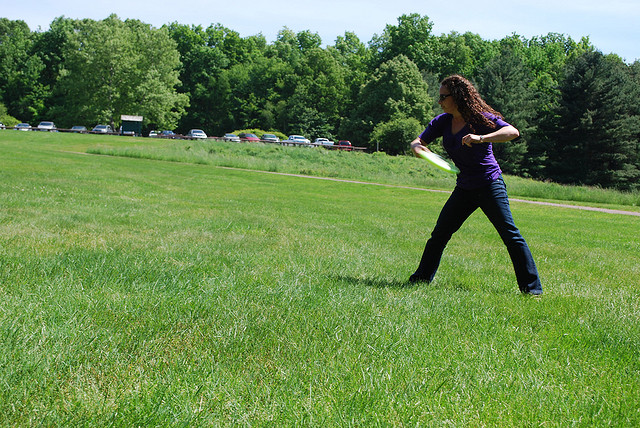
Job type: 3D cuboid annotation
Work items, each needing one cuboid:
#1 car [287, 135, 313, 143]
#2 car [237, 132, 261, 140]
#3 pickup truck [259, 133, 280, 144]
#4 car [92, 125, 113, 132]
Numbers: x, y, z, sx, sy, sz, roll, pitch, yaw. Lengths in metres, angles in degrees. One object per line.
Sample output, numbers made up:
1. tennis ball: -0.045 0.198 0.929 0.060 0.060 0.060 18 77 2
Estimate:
1. car: -2.661 -9.308 69.079 1.673 1.182 2.741 -2 1 -44
2. car: -8.433 -9.098 67.243 1.249 0.893 2.564 -2 4 -30
3. pickup truck: -6.170 -9.145 68.569 1.661 1.268 3.636 -4 6 -39
4. car: -24.745 -9.922 65.202 1.213 0.926 2.013 1 -2 11
